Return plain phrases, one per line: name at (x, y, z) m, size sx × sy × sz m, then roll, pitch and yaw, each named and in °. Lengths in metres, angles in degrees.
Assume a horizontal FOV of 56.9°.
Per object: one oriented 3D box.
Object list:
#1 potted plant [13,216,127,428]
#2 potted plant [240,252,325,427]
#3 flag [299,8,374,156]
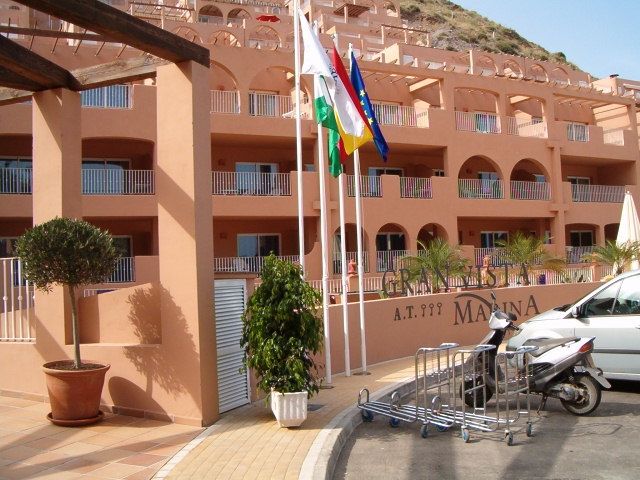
potted plant at (-4.076, 1.335, 9.701) m, size 1.250 × 3.256 × 1.008 m, roll 1°, pitch 7°, yaw 12°
potted plant at (-0.578, 1.598, 9.310) m, size 1.213 × 2.543 × 1.015 m, roll 0°, pitch 6°, yaw 1°
flag at (0.337, -2.953, 11.906) m, size 0.821 × 3.065 × 0.488 m, roll 7°, pitch -34°, yaw -14°
